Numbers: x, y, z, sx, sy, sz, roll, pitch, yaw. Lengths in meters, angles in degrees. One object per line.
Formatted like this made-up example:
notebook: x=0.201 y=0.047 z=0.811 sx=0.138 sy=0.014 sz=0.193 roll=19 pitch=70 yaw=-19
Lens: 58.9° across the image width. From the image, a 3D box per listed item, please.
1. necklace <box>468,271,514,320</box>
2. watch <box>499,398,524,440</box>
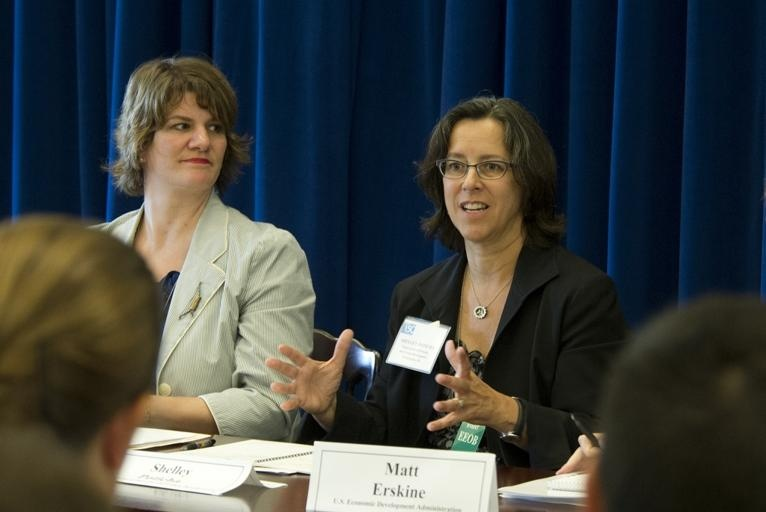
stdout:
necklace: x=0.326 y=0.118 z=2.010 sx=0.123 sy=0.161 sz=0.012 roll=15 pitch=-36 yaw=18
watch: x=0.327 y=0.409 z=1.695 sx=0.062 sy=0.103 sz=0.096 roll=-3 pitch=-39 yaw=15
